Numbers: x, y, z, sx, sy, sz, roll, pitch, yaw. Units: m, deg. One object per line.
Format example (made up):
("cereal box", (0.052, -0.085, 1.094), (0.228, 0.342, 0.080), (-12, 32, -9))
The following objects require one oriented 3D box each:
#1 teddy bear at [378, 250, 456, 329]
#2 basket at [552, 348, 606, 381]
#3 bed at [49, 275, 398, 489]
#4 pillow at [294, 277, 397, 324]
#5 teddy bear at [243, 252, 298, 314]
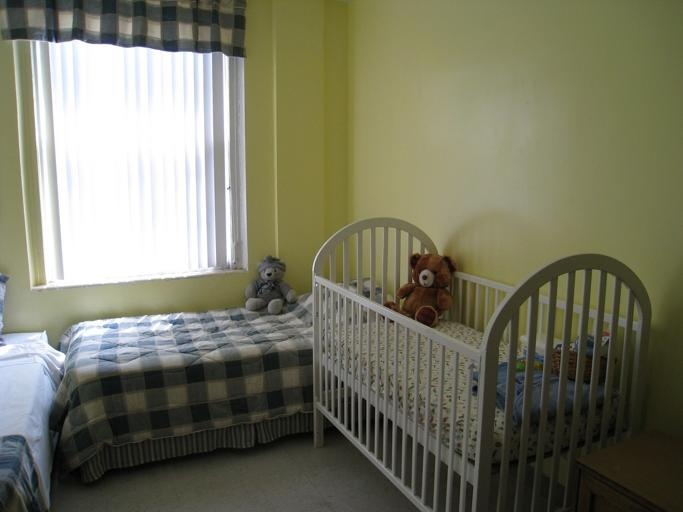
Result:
("teddy bear", (0.457, 0.184, 3.196), (0.333, 0.431, 0.320), (8, 0, 32))
("basket", (1.024, 0.470, 2.426), (0.159, 0.092, 0.212), (6, -4, -18))
("bed", (-0.923, 0.671, 3.339), (1.198, 0.684, 0.846), (-1, 14, -22))
("pillow", (-0.057, 0.203, 3.727), (0.433, 0.146, 0.339), (-29, 32, -18))
("teddy bear", (-0.477, 0.218, 4.184), (0.396, 0.491, 0.367), (2, -4, 4))
